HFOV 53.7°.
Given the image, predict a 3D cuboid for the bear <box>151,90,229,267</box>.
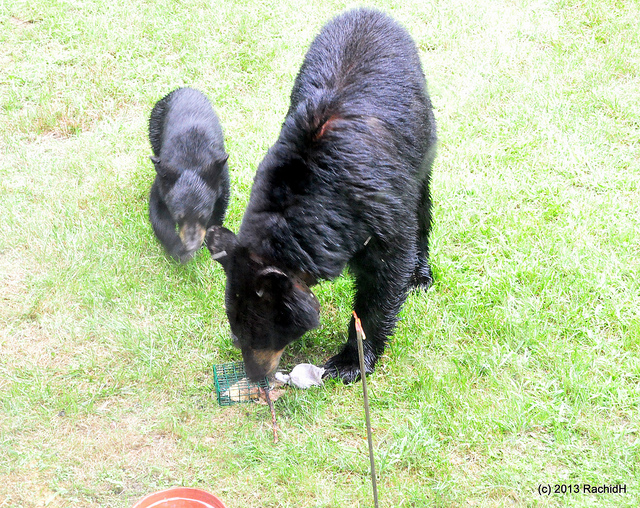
[{"bbox_3d":[-1.403,-0.852,6.929,0.735,1.238,2.331,0,56,-11],"label":"bear"}]
